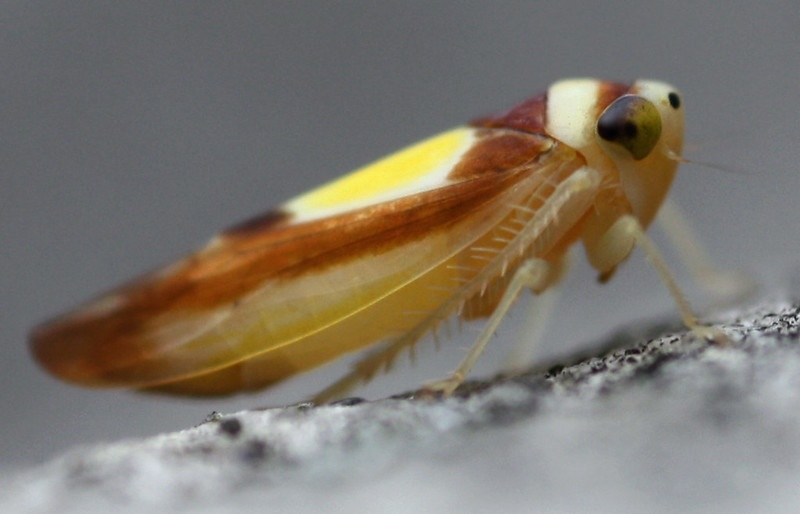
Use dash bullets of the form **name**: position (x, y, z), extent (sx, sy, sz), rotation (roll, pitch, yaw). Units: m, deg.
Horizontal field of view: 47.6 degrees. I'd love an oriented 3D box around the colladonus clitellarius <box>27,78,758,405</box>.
- **colladonus clitellarius**: position (0.003, 0.048, 4.232), extent (2.859, 1.152, 1.270), rotation (-10, 22, -1)
